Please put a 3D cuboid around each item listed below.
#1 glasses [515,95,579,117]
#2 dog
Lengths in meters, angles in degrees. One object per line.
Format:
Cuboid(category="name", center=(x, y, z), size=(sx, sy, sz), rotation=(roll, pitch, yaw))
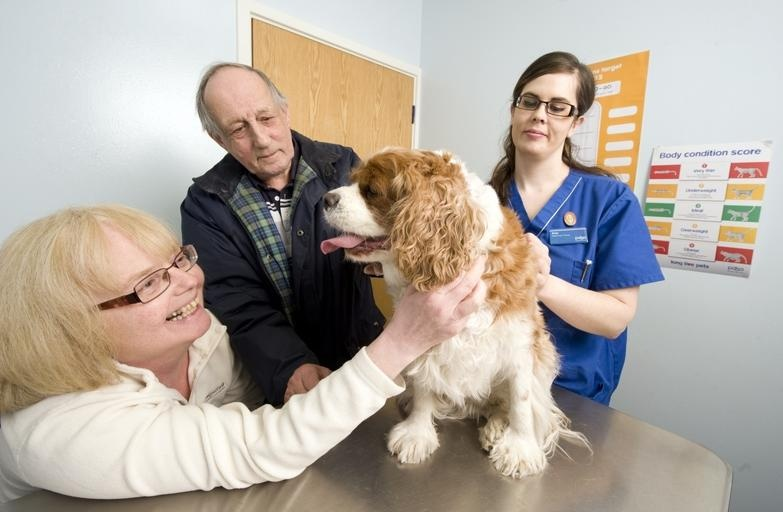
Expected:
Cuboid(category="glasses", center=(1.028, -0.998, 3.726), size=(0.398, 0.156, 0.144), rotation=(4, 15, 19))
Cuboid(category="dog", center=(0.411, 0.306, 3.556), size=(1.568, 1.779, 1.543), rotation=(-3, 1, 5))
